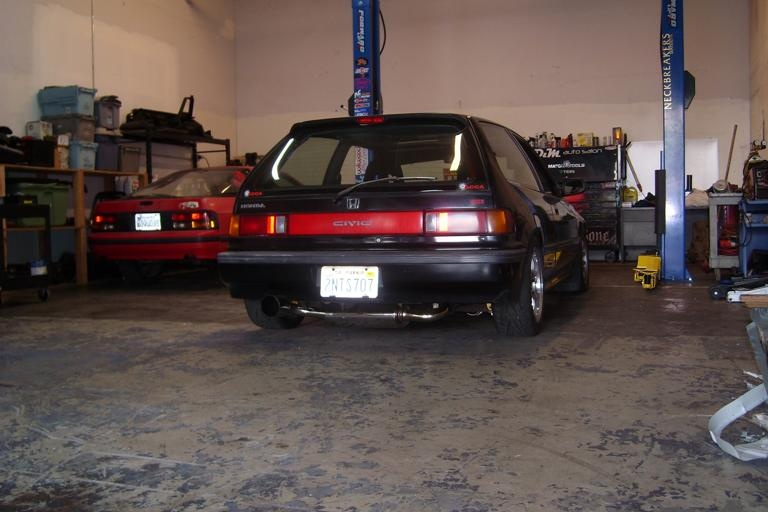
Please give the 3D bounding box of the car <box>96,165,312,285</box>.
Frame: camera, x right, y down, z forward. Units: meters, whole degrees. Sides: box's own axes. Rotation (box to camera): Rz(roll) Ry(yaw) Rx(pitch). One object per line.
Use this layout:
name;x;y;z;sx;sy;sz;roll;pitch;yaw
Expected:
car;-2.594;-0.419;6.549;1.403;0.890;2.390;-1;2;25

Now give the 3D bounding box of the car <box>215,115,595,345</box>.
car;0.150;-0.214;4.135;2.667;1.644;1.464;-1;7;-1
